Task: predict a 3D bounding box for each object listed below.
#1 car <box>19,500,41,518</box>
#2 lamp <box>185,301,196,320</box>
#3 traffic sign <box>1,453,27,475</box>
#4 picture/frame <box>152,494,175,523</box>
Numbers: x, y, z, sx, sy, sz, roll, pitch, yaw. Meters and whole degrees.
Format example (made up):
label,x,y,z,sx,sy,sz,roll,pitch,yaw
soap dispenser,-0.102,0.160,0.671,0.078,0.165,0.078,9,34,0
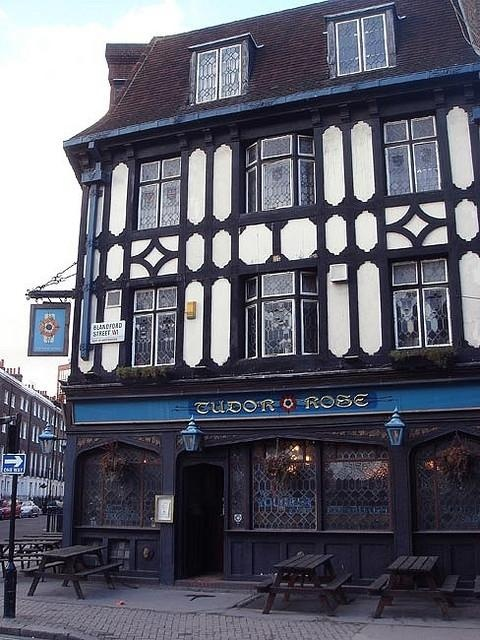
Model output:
label,x,y,z,sx,sy,sz,roll,pitch,yaw
car,-15.618,13.893,53.924,1.346,1.170,2.749,-2,-26,-2
lamp,-1.031,-0.195,15.093,0.261,0.374,0.181,-4,-13,7
traffic sign,-3.524,2.245,11.400,0.336,0.355,0.587,2,-14,-18
picture/frame,-1.483,3.679,14.328,0.567,0.713,0.075,-5,-18,16
